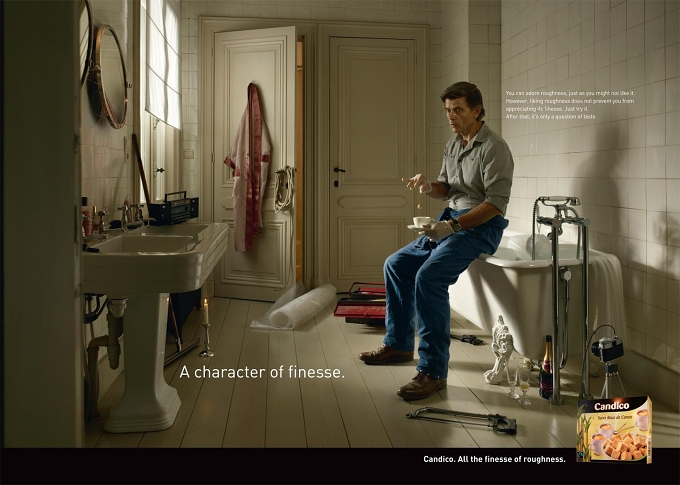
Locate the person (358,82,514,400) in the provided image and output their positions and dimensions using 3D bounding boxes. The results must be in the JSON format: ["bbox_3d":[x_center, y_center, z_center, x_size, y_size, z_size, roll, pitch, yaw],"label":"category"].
[{"bbox_3d":[0.688,0.071,3.261,0.678,2.263,0.813,-2,12,-39],"label":"person"}]

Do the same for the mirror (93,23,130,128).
[{"bbox_3d":[-1.413,-1.017,2.972,0.089,0.599,0.465,-1,10,-10],"label":"mirror"}]

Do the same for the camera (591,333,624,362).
[{"bbox_3d":[1.349,0.528,2.457,0.156,0.131,0.119,-10,13,-9],"label":"camera"}]

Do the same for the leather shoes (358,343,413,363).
[{"bbox_3d":[0.309,0.757,3.324,0.365,0.188,0.136,3,-3,-1],"label":"leather shoes"}]

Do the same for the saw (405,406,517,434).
[{"bbox_3d":[0.645,0.950,2.589,0.573,0.086,0.199,-1,6,3],"label":"saw"}]

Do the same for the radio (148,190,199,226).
[{"bbox_3d":[-1.171,-0.249,3.433,0.200,0.228,0.509,5,12,18],"label":"radio"}]

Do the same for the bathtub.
[{"bbox_3d":[1.203,0.313,3.091,0.539,0.706,1.201,3,7,-2],"label":"bathtub"}]

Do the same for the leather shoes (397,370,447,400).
[{"bbox_3d":[0.489,0.847,2.905,0.297,0.145,0.113,1,-7,-35],"label":"leather shoes"}]
